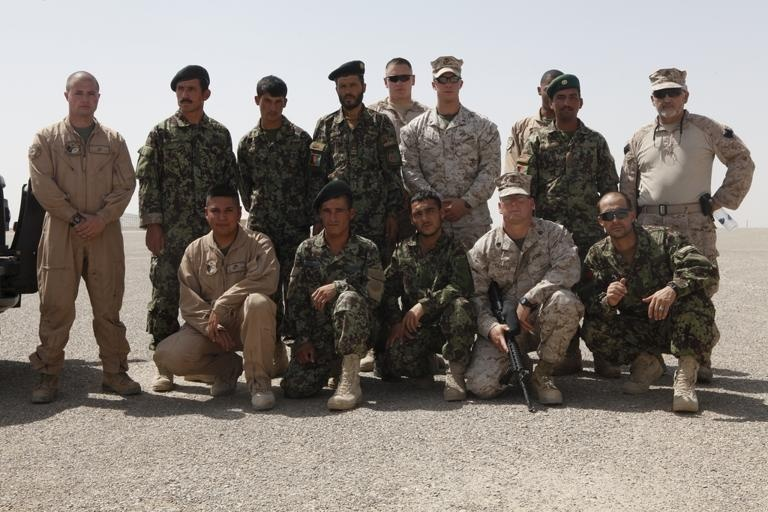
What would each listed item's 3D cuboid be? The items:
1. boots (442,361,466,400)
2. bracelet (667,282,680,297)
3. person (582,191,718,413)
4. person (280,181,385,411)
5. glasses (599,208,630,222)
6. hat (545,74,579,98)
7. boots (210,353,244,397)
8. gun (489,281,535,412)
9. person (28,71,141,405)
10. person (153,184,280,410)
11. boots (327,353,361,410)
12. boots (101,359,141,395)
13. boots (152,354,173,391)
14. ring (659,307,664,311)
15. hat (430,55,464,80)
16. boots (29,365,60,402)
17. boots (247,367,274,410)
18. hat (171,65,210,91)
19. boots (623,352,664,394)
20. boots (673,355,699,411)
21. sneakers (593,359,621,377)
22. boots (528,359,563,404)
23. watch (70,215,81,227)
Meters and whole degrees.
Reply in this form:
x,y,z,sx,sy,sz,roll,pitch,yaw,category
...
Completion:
x,y,z,sx,sy,sz,roll,pitch,yaw,category
0.639,1.096,6.435,0.198,0.299,0.343,1,7,7,boots
2.526,0.292,6.302,0.045,0.098,0.099,7,7,21,bracelet
2.470,0.318,6.548,0.771,1.772,1.307,-5,9,-30,person
-0.498,0.315,6.474,0.892,1.940,0.957,1,8,10,person
2.102,-0.373,6.579,0.241,0.116,0.072,2,8,16,glasses
1.827,-1.735,7.403,0.314,0.211,0.327,2,7,16,hat
-1.468,1.103,6.829,0.176,0.213,0.471,3,36,7,boots
1.139,0.822,6.472,0.164,1.097,0.441,-6,-27,-11,gun
-2.737,-0.191,6.521,0.974,2.895,0.642,-3,8,-17,person
-1.417,0.327,6.648,1.287,1.936,0.799,4,9,29,person
-0.339,1.075,6.260,0.273,0.416,0.389,0,7,6,boots
-2.422,1.110,6.697,0.504,0.320,0.174,4,9,33,boots
-2.120,1.118,6.906,0.191,0.360,0.412,-2,-4,-15,boots
2.405,0.454,6.264,0.059,0.046,0.008,-1,8,-3,ring
0.651,-1.934,7.446,0.294,0.246,0.531,0,7,4,hat
-3.056,1.127,6.498,0.189,0.312,0.497,1,4,-14,boots
-1.071,1.158,6.294,0.206,0.262,0.369,-2,7,-13,boots
-1.916,-1.760,7.178,0.334,0.223,0.217,-3,8,-20,hat
2.382,1.062,6.615,0.212,0.265,0.642,-5,3,35,boots
2.538,1.073,6.111,0.194,0.242,0.578,-2,31,22,boots
2.270,1.134,7.308,0.137,0.233,0.267,-4,-2,-28,sneakers
1.427,1.123,6.331,0.170,0.170,0.465,-5,7,-6,boots
-2.743,-0.315,6.438,0.076,0.097,0.036,26,-5,-15,watch
